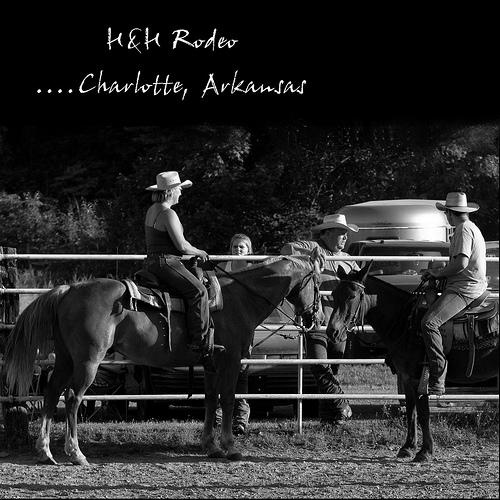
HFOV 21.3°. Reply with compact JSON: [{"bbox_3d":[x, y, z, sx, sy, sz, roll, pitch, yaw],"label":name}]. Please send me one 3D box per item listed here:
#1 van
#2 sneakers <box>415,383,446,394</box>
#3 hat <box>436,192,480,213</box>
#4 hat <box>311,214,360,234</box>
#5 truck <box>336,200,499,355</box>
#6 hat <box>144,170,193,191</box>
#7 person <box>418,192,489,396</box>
[{"bbox_3d":[-0.525,1.386,17.006,2.631,1.477,1.417,-2,-6,-4],"label":"van"},{"bbox_3d":[1.992,1.564,14.846,0.285,0.126,0.078,5,15,14],"label":"sneakers"},{"bbox_3d":[2.325,-0.533,15.251,0.310,0.149,0.366,3,-4,-2],"label":"hat"},{"bbox_3d":[1.220,-0.378,18.800,0.524,0.198,0.523,-1,-3,31],"label":"hat"},{"bbox_3d":[2.411,-0.134,20.558,1.748,1.673,3.124,0,-6,-4],"label":"truck"},{"bbox_3d":[-0.921,-0.791,15.246,0.341,0.120,0.303,-7,8,-7],"label":"hat"},{"bbox_3d":[2.270,0.501,14.987,0.670,2.204,1.002,7,15,19],"label":"person"}]
